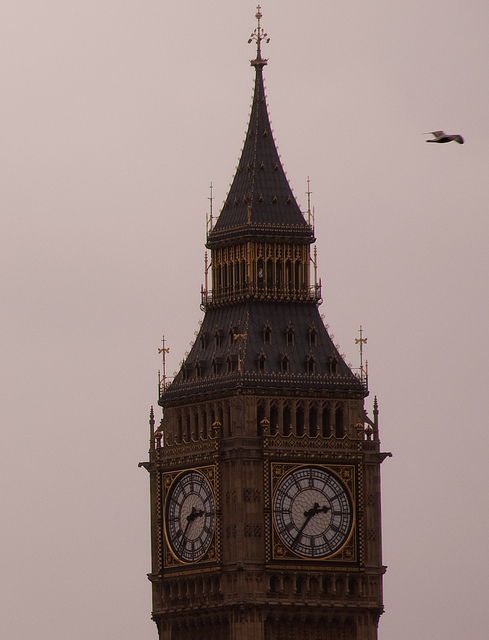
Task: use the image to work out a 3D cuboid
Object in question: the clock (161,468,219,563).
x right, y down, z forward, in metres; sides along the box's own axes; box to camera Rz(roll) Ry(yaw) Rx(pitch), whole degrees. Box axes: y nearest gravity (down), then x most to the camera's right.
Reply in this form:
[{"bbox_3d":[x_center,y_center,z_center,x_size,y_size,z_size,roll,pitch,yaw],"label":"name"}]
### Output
[{"bbox_3d":[-1.400,4.922,63.809,1.648,2.453,0.150,0,6,-33],"label":"clock"}]
